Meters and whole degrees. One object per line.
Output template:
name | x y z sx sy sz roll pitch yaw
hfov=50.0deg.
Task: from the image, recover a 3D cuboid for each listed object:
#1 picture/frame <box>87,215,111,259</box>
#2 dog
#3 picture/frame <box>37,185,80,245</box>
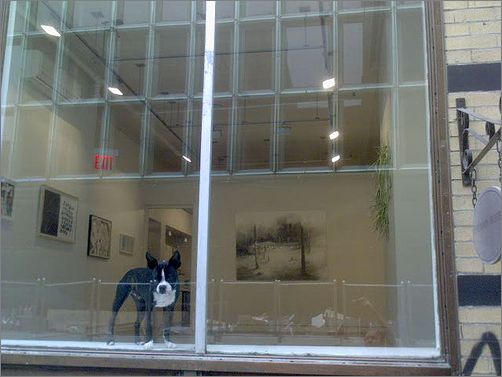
picture/frame | -1.252 0.406 4.433 0.235 0.418 0.041 25 -46 -38
dog | -0.761 0.799 3.816 0.287 0.656 0.799 7 -13 -38
picture/frame | -1.659 0.222 4.573 0.050 0.514 0.430 -2 -8 22
